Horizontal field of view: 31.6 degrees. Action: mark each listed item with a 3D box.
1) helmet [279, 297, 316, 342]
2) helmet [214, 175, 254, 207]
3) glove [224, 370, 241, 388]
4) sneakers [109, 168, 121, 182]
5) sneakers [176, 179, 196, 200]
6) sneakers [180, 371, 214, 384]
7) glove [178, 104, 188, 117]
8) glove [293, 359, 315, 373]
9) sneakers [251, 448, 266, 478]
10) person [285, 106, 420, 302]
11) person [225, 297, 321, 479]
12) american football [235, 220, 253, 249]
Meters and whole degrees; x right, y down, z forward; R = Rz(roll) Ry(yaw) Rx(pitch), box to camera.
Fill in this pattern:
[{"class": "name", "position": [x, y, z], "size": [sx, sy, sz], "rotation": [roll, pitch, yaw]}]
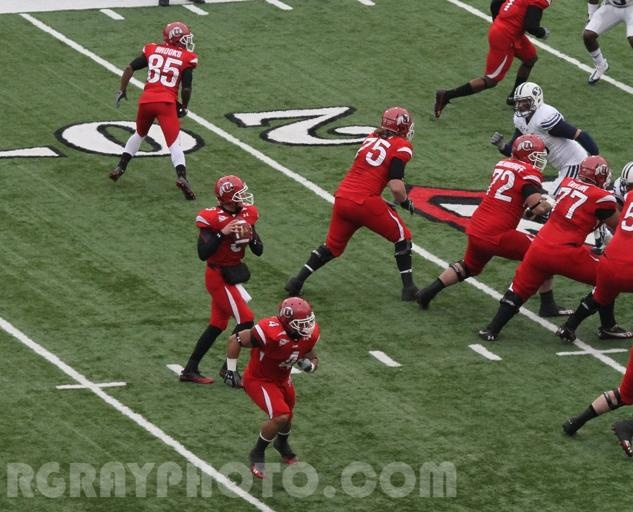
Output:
[{"class": "helmet", "position": [-0.143, 0.470, 8.615], "size": [0.306, 0.292, 0.233], "rotation": [18, 40, 10]}, {"class": "helmet", "position": [-0.688, -0.555, 9.569], "size": [0.312, 0.284, 0.216], "rotation": [3, 40, -8]}, {"class": "glove", "position": [-0.645, 0.956, 8.771], "size": [0.090, 0.072, 0.199], "rotation": [-8, 22, -23]}, {"class": "sneakers", "position": [-2.279, -0.918, 12.862], "size": [0.089, 0.083, 0.198], "rotation": [10, -14, -32]}, {"class": "sneakers", "position": [-1.458, -0.743, 12.649], "size": [0.165, 0.329, 0.096], "rotation": [-2, 75, 12]}, {"class": "sneakers", "position": [-1.053, 1.059, 9.860], "size": [0.352, 0.081, 0.101], "rotation": [2, 5, -4]}, {"class": "glove", "position": [-1.524, -1.671, 12.962], "size": [0.138, 0.120, 0.121], "rotation": [-4, 31, -8]}, {"class": "glove", "position": [-0.116, 0.854, 8.833], "size": [0.139, 0.063, 0.170], "rotation": [21, -1, -34]}, {"class": "sneakers", "position": [-0.454, 1.619, 8.842], "size": [0.109, 0.214, 0.119], "rotation": [-14, 2, -20]}, {"class": "person", "position": [0.535, -0.484, 11.102], "size": [1.258, 1.764, 1.279], "rotation": [10, 40, -2]}, {"class": "person", "position": [-0.369, 0.989, 8.793], "size": [0.704, 1.428, 0.851], "rotation": [8, 41, -5]}, {"class": "american football", "position": [-0.597, -0.213, 9.535], "size": [0.149, 0.243, 0.216], "rotation": [9, 39, -4]}]
